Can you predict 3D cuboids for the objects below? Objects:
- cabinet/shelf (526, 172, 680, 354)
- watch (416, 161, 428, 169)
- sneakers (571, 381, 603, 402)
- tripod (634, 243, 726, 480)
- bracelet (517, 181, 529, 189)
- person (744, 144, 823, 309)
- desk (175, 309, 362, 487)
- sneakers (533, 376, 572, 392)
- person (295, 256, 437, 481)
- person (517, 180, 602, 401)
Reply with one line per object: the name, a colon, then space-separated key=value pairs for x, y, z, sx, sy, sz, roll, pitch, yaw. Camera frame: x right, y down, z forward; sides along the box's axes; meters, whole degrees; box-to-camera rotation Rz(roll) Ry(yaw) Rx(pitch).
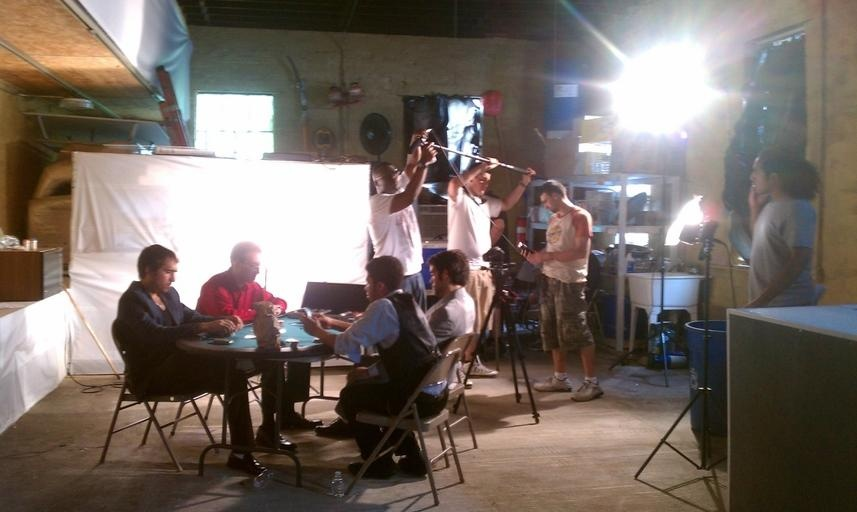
cabinet/shelf: x=2.486 y=0.158 z=9.418 sx=1.113 sy=2.483 sz=2.976 roll=0 pitch=2 yaw=-4
watch: x=-0.064 y=-1.052 z=7.855 sx=0.089 sy=0.052 sz=0.079 roll=1 pitch=-3 yaw=3
sneakers: x=1.931 y=1.619 z=8.209 sx=0.437 sy=0.224 sz=0.229 roll=-1 pitch=1 yaw=-3
tripod: x=2.735 y=0.966 z=7.131 sx=0.711 sy=2.285 sz=1.645 roll=-1 pitch=2 yaw=23
bracelet: x=1.287 y=-0.968 z=9.083 sx=0.209 sy=0.075 sz=0.210 roll=1 pitch=1 yaw=5
person: x=3.418 y=-0.271 z=6.546 sx=0.596 sy=1.506 sz=1.157 roll=0 pitch=2 yaw=29
desk: x=-1.476 y=1.385 z=6.878 sx=1.790 sy=1.018 sz=1.715 roll=4 pitch=4 yaw=-4
sneakers: x=1.575 y=1.607 z=8.502 sx=0.533 sy=0.176 sz=0.176 roll=0 pitch=-3 yaw=5
person: x=-0.457 y=1.077 z=6.520 sx=1.240 sy=2.153 sz=0.669 roll=-1 pitch=2 yaw=10
person: x=1.627 y=0.406 z=8.446 sx=1.087 sy=2.639 sz=1.042 roll=2 pitch=0 yaw=-31
